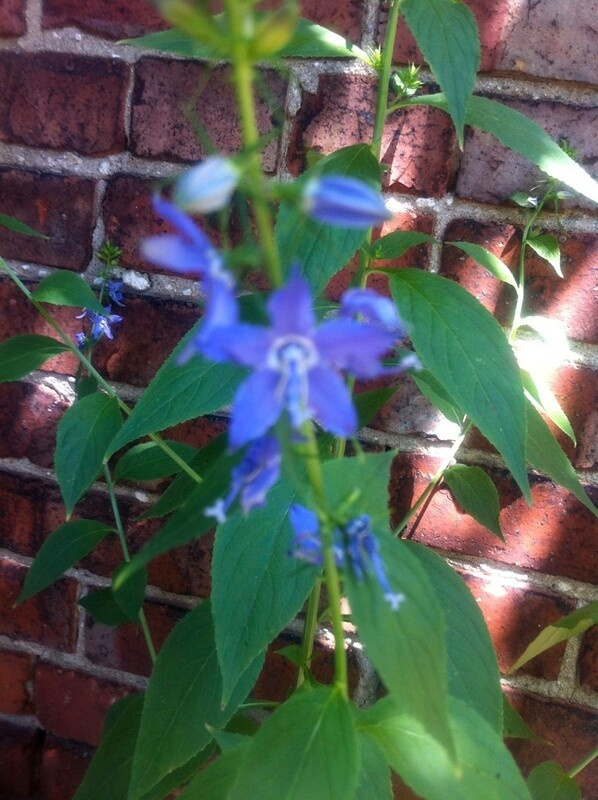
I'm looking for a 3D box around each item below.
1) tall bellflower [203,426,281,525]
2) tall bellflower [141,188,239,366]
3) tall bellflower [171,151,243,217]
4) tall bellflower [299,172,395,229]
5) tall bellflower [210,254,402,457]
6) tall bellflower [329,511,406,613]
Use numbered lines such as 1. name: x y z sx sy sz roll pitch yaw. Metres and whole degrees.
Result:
1. tall bellflower: -0.032 0.040 0.409 0.019 0.021 0.059 -28 -23 -54
2. tall bellflower: -0.047 -0.047 0.350 0.050 0.067 0.022 15 -24 -39
3. tall bellflower: -0.039 -0.092 0.354 0.033 0.021 0.013 -36 18 -20
4. tall bellflower: 0.019 -0.088 0.375 0.054 0.016 0.018 9 -34 0
5. tall bellflower: -0.001 -0.023 0.378 0.086 0.077 0.039 -17 12 -11
6. tall bellflower: 0.034 0.080 0.418 0.032 0.053 0.010 -38 -21 -8
